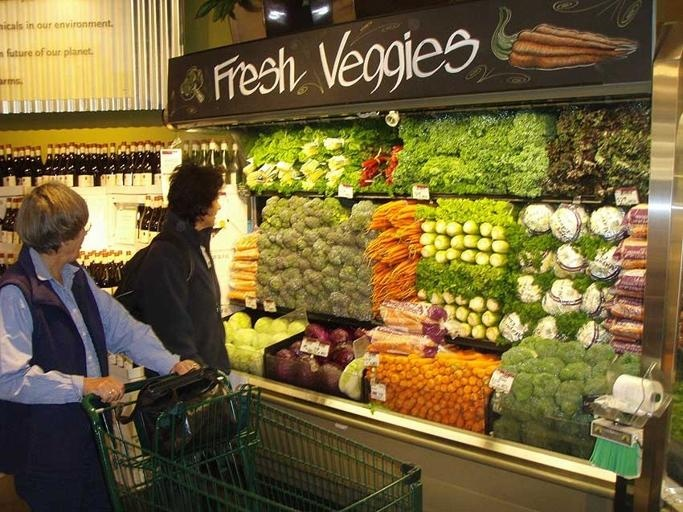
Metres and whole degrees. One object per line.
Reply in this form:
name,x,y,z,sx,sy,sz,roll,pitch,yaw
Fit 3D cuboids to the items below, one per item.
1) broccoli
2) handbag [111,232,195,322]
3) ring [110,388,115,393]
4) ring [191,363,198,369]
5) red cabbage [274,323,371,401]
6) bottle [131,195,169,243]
broccoli,1.274,0.671,2.843,0.715,0.598,0.571,2,6,35
handbag,-1.163,0.082,3.076,0.394,0.582,0.413,-7,10,-38
ring,-0.965,0.564,2.106,0.011,0.016,0.007,4,-20,-10
ring,-0.672,0.501,2.296,0.030,0.014,0.039,4,23,1
red cabbage,-0.124,0.740,3.737,0.528,0.133,0.491,9,22,34
bottle,-1.904,-0.370,4.933,0.295,0.560,0.244,5,12,29
